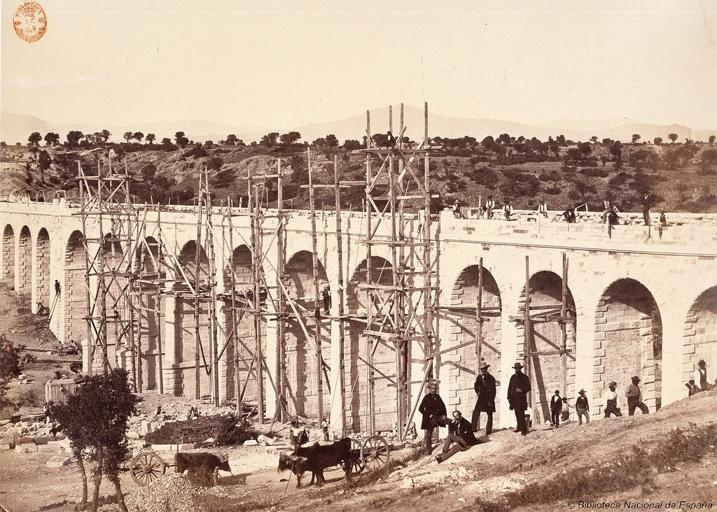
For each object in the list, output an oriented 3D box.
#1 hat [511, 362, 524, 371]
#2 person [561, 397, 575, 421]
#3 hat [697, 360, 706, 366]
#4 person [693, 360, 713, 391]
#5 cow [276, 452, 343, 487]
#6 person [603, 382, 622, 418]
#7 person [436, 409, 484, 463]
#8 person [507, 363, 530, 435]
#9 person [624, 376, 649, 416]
[{"bbox_3d":[4.819,3.337,33.389,0.431,0.182,0.495,-3,-5,7],"label":"hat"},{"bbox_3d":[6.391,4.694,33.834,0.351,0.767,1.217,-3,-2,11],"label":"person"},{"bbox_3d":[9.809,3.076,31.454,0.324,0.249,0.114,-1,-2,-34],"label":"hat"},{"bbox_3d":[9.842,3.403,31.495,0.521,0.905,0.197,-1,-2,-25],"label":"person"},{"bbox_3d":[-1.667,6.444,33.221,1.387,1.061,1.364,-2,-2,2],"label":"cow"},{"bbox_3d":[7.495,4.277,32.664,0.462,1.094,1.059,-3,-2,19],"label":"person"},{"bbox_3d":[2.826,5.194,32.331,1.645,1.337,0.772,-12,4,-31],"label":"person"},{"bbox_3d":[4.685,4.205,32.200,0.622,2.140,0.702,-2,-2,7],"label":"person"},{"bbox_3d":[8.169,4.119,32.462,0.577,1.123,0.967,-3,-2,14],"label":"person"}]
